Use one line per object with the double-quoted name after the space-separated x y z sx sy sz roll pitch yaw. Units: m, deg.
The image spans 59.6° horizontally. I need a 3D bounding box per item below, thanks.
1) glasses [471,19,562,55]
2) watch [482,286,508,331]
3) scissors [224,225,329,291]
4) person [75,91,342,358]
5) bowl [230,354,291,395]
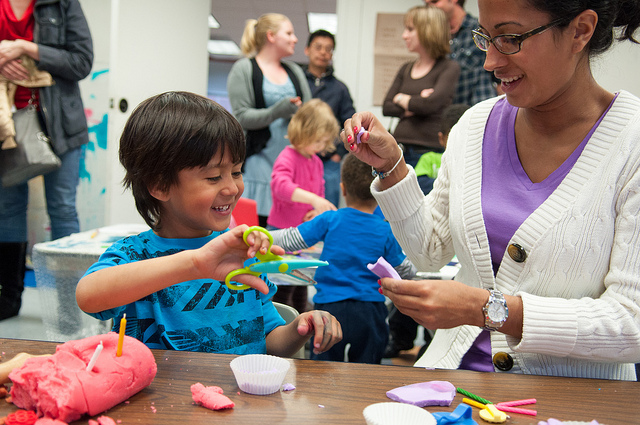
0.601 -0.552 1.793 0.152 0.047 0.144 -29 26 -17 "glasses"
0.559 0.314 1.772 0.080 0.120 0.049 7 14 20 "watch"
-0.157 0.130 1.671 0.248 0.190 0.312 -4 14 -24 "scissors"
-0.349 0.065 1.827 0.741 0.887 0.431 3 13 6 "person"
-0.164 0.451 1.589 0.171 0.078 0.133 1 12 -4 "bowl"
